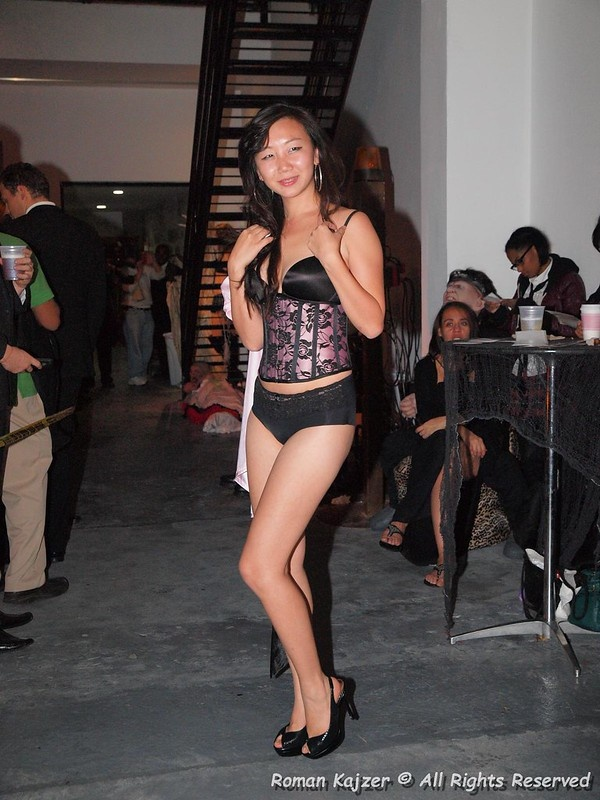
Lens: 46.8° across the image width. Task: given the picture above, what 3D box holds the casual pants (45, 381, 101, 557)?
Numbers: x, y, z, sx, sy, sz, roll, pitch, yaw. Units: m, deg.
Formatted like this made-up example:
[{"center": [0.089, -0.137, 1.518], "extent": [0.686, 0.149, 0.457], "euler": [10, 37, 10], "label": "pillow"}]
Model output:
[{"center": [-1.213, 0.406, 3.719], "extent": [0.212, 0.870, 0.234], "euler": [0, -9, 2], "label": "casual pants"}]

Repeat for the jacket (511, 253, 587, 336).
[{"center": [1.369, -0.568, 3.962], "extent": [0.510, 0.452, 0.298], "euler": [5, 12, 41], "label": "jacket"}]

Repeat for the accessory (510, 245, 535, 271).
[{"center": [1.314, -0.853, 4.151], "extent": [0.122, 0.034, 0.119], "euler": [-29, 4, -6], "label": "accessory"}]

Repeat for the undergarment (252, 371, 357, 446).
[{"center": [0.008, 0.022, 1.531], "extent": [0.247, 0.119, 0.161], "euler": [1, -3, 40], "label": "undergarment"}]

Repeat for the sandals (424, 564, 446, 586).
[{"center": [0.533, 0.700, 2.727], "extent": [0.052, 0.050, 0.137], "euler": [-1, -4, 9], "label": "sandals"}]

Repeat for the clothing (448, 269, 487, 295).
[{"center": [1.001, -0.716, 4.123], "extent": [0.174, 0.202, 0.107], "euler": [5, 45, 25], "label": "clothing"}]

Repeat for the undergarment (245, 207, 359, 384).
[{"center": [0.031, -0.254, 1.646], "extent": [0.312, 0.400, 0.255], "euler": [5, 1, 39], "label": "undergarment"}]
